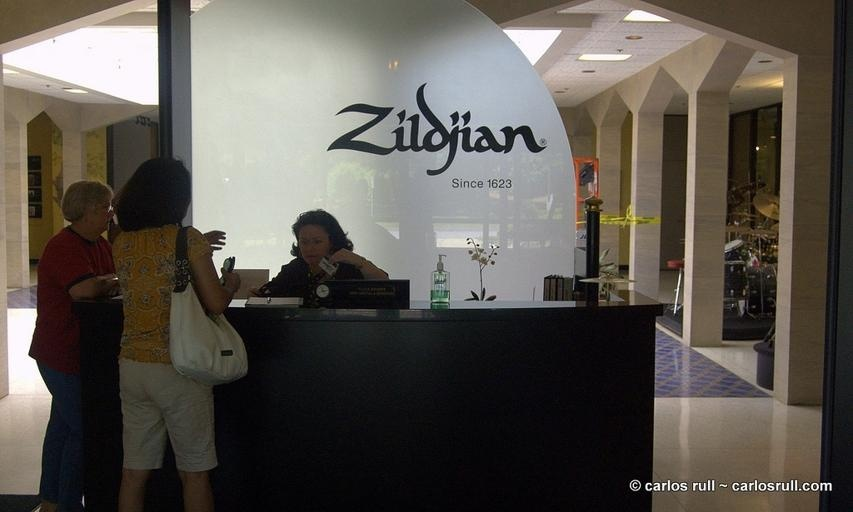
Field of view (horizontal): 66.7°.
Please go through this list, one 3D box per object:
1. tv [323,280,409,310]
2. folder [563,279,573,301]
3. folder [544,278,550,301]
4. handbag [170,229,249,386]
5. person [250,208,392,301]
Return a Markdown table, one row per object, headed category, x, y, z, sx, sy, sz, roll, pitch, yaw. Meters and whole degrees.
| category | x | y | z | sx | sy | sz | roll | pitch | yaw |
| --- | --- | --- | --- | --- | --- | --- | --- | --- | --- |
| tv | -0.480 | 0.280 | 4.809 | 0.669 | 0.192 | 0.097 | 0 | 13 | -4 |
| folder | 1.207 | 0.274 | 5.523 | 0.094 | 0.172 | 0.084 | 1 | 13 | 2 |
| folder | 1.033 | 0.287 | 5.563 | 0.072 | 0.188 | 0.198 | 0 | 2 | 3 |
| handbag | -1.486 | 0.350 | 4.358 | 0.473 | 1.045 | 0.300 | 1 | 13 | -1 |
| person | -0.935 | -0.042 | 5.641 | 0.985 | 0.629 | 1.304 | 0 | 13 | -4 |
